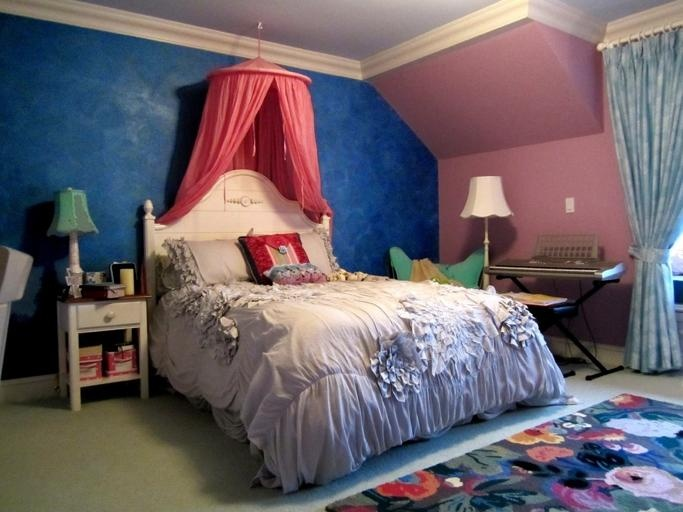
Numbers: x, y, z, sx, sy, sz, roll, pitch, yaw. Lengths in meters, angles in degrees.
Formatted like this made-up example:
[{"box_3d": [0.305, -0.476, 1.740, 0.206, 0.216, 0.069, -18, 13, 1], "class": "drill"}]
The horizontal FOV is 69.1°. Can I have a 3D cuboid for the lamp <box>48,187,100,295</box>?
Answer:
[{"box_3d": [-2.067, -0.114, 3.814, 0.334, 0.792, 0.490, -6, 10, -31], "class": "lamp"}]

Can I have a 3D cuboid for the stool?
[{"box_3d": [1.649, 0.669, 4.219, 0.555, 0.458, 0.915, 1, 1, 9], "class": "stool"}]

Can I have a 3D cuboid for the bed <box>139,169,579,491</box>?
[{"box_3d": [-0.269, 0.555, 3.689, 2.100, 1.576, 2.300, -3, 3, -39], "class": "bed"}]
